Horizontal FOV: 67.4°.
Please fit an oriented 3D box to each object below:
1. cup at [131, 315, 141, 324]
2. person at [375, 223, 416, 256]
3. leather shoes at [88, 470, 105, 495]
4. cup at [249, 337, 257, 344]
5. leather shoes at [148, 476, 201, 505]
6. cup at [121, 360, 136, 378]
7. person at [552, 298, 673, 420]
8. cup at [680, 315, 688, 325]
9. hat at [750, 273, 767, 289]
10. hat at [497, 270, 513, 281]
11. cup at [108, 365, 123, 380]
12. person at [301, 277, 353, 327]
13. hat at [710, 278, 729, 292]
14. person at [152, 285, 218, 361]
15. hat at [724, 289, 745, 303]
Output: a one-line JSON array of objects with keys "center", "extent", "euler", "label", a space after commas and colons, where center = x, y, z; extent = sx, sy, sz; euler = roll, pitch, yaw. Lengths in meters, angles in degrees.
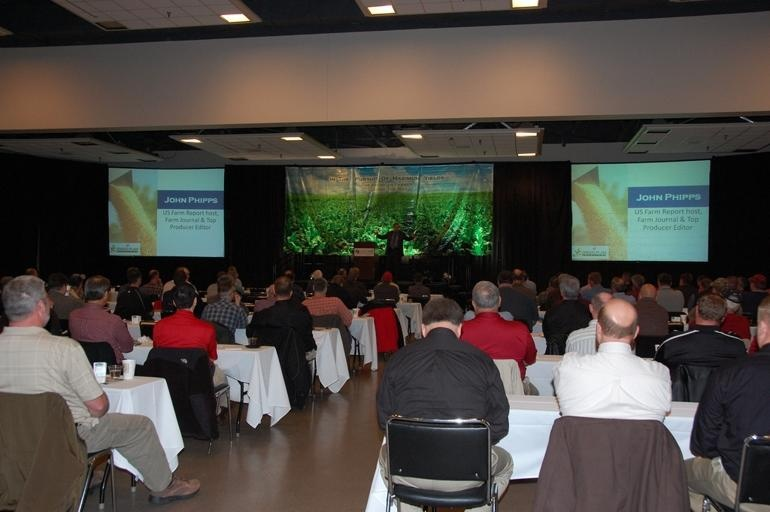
[{"center": [-3.236, 0.824, 7.506], "extent": [0.093, 0.084, 0.047], "euler": [1, 8, 3], "label": "cup"}, {"center": [0.304, -0.414, 15.206], "extent": [0.918, 1.116, 0.407], "euler": [0, -3, 1], "label": "person"}, {"center": [-2.491, 1.944, 4.971], "extent": [0.106, 0.134, 0.048], "euler": [23, -7, -31], "label": "leather shoes"}, {"center": [-1.422, 0.912, 6.230], "extent": [0.063, 0.044, 0.062], "euler": [0, 1, 0], "label": "cup"}, {"center": [-1.764, 1.936, 4.888], "extent": [0.427, 0.183, 0.152], "euler": [-3, 7, -27], "label": "leather shoes"}, {"center": [-2.156, 0.963, 4.939], "extent": [0.151, 0.155, 0.143], "euler": [2, -5, 0], "label": "cup"}, {"center": [1.690, 0.759, 4.268], "extent": [0.816, 0.992, 0.534], "euler": [5, 38, 13], "label": "person"}, {"center": [3.740, 0.798, 7.280], "extent": [0.109, 0.105, 0.086], "euler": [-10, 16, -30], "label": "cup"}, {"center": [6.294, 0.431, 9.745], "extent": [0.205, 0.149, 0.283], "euler": [0, 25, 11], "label": "hat"}, {"center": [1.698, 0.300, 8.137], "extent": [0.134, 0.170, 0.161], "euler": [-1, 35, 6], "label": "hat"}, {"center": [-2.300, 0.994, 4.943], "extent": [0.123, 0.094, 0.125], "euler": [1, -5, 0], "label": "cup"}, {"center": [-0.888, 0.690, 8.140], "extent": [0.861, 0.681, 0.451], "euler": [1, 14, 7], "label": "person"}, {"center": [4.773, 0.410, 8.251], "extent": [0.182, 0.165, 0.137], "euler": [-8, 13, -37], "label": "hat"}, {"center": [-1.951, 0.729, 5.772], "extent": [0.651, 0.841, 0.548], "euler": [3, 7, 13], "label": "person"}, {"center": [4.013, 0.472, 6.693], "extent": [0.135, 0.161, 0.169], "euler": [7, 36, -2], "label": "hat"}]
